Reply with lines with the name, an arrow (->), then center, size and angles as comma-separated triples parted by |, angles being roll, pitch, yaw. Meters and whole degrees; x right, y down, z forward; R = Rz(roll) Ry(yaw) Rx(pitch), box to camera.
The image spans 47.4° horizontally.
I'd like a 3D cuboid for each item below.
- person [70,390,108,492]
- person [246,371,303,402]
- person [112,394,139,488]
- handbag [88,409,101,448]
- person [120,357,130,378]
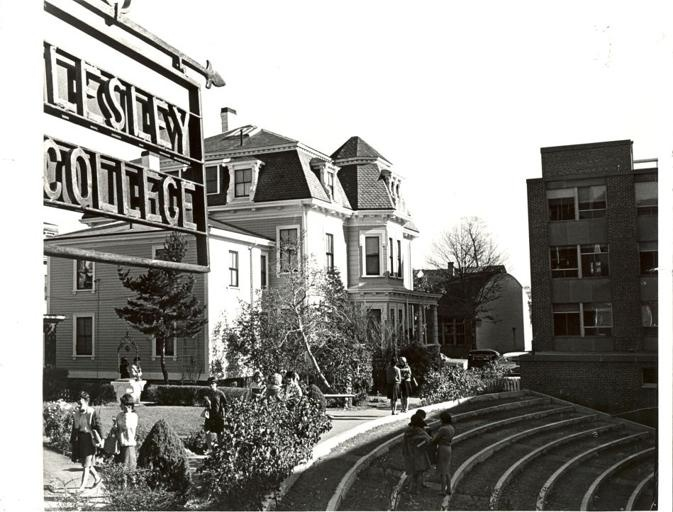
person -> -5.341, 4.002, 16.402 | 0.672, 2.067, 1.274 | 2, -8, -18
person -> -1.389, 3.198, 18.545 | 1.128, 0.626, 1.897 | -2, -9, 9
person -> -4.532, 3.989, 16.435 | 0.479, 1.937, 0.721 | 1, -7, -16
handbag -> -5.053, 3.639, 15.963 | 0.193, 0.598, 0.400 | -13, 9, -22
person -> -7.574, 4.041, 27.334 | 0.309, 0.729, 0.838 | 2, -8, -21
